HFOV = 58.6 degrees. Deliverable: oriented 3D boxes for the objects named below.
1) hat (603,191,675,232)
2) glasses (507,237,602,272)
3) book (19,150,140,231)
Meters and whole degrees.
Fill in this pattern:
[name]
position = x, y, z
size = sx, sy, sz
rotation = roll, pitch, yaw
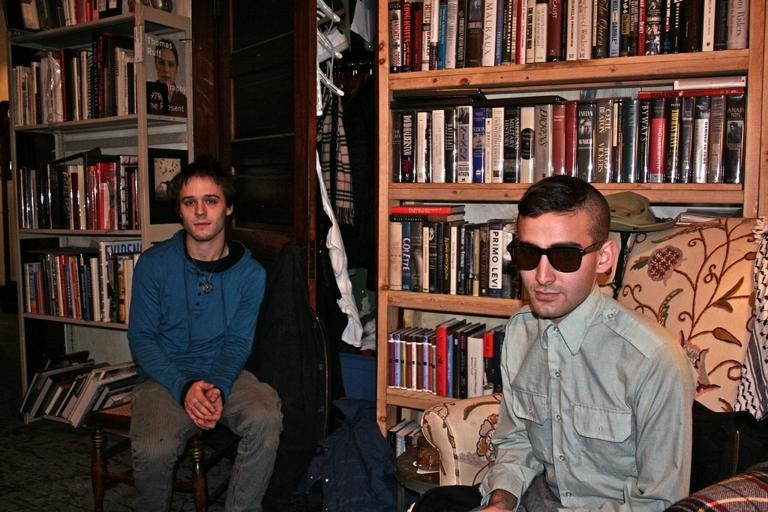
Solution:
[hat]
position = 1.053, -0.168, 2.849
size = 0.234, 0.090, 0.197
rotation = -1, -3, -8
[glasses]
position = 0.585, -0.002, 2.388
size = 0.313, 0.108, 0.128
rotation = 1, 5, 14
[book]
position = -1.899, -0.394, 4.326
size = 0.555, 0.281, 0.236
rotation = 1, -2, 19
